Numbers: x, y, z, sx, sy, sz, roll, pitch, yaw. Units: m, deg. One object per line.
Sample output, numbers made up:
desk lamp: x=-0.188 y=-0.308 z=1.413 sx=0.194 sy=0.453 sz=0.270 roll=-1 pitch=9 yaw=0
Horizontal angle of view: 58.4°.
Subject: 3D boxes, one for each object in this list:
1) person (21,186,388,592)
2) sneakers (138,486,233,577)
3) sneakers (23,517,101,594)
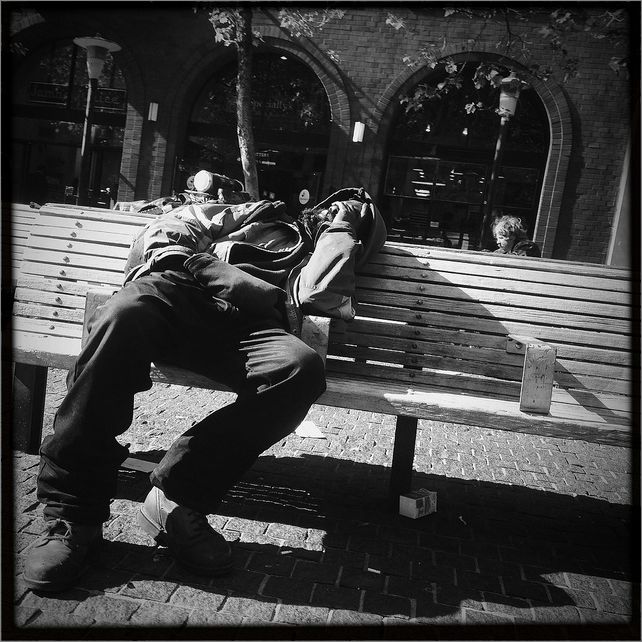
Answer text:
person: x=-0.431 y=0.021 z=2.643 sx=1.076 sy=0.989 sz=2.355 roll=2 pitch=51 yaw=16
sneakers: x=-0.507 y=0.801 z=2.223 sx=0.418 sy=0.200 sz=0.193 roll=32 pitch=17 yaw=15
sneakers: x=-0.896 y=0.805 z=2.001 sx=0.114 sy=0.139 sz=0.345 roll=20 pitch=-7 yaw=-1
